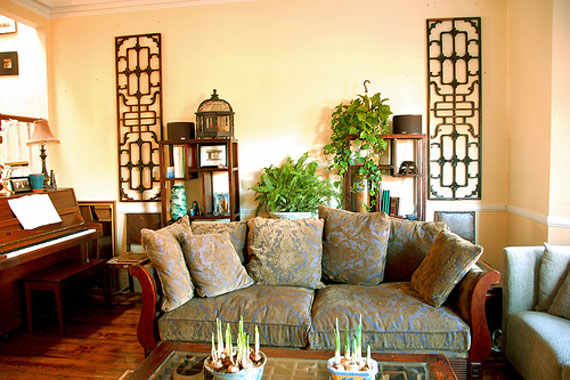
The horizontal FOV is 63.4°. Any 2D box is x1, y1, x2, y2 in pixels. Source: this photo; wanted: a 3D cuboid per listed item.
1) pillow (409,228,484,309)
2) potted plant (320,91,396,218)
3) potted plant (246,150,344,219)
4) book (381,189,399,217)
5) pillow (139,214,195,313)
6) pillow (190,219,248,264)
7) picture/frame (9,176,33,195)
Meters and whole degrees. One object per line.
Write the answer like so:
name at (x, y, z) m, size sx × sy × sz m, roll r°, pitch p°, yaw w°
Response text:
pillow at (1.553, 0.769, 4.543) m, size 0.592 × 0.658 × 0.403 m, roll -1°, pitch 7°, yaw 7°
potted plant at (0.913, -0.503, 5.866) m, size 0.832 × 1.502 × 0.536 m, roll 0°, pitch 8°, yaw 11°
potted plant at (0.045, -0.046, 5.881) m, size 0.894 × 0.573 × 0.899 m, roll -2°, pitch 4°, yaw -31°
book at (1.324, 0.155, 5.942) m, size 0.118 × 0.352 × 0.349 m, roll -2°, pitch 2°, yaw -8°
pillow at (-1.115, 0.773, 4.696) m, size 0.440 × 0.791 × 0.486 m, roll 3°, pitch 9°, yaw 33°
pillow at (-0.767, 0.561, 5.199) m, size 0.499 × 0.484 × 0.242 m, roll 9°, pitch -33°, yaw -12°
picture/frame at (-3.168, -0.059, 5.524) m, size 0.187 × 0.194 × 0.273 m, roll -9°, pitch 0°, yaw 15°
